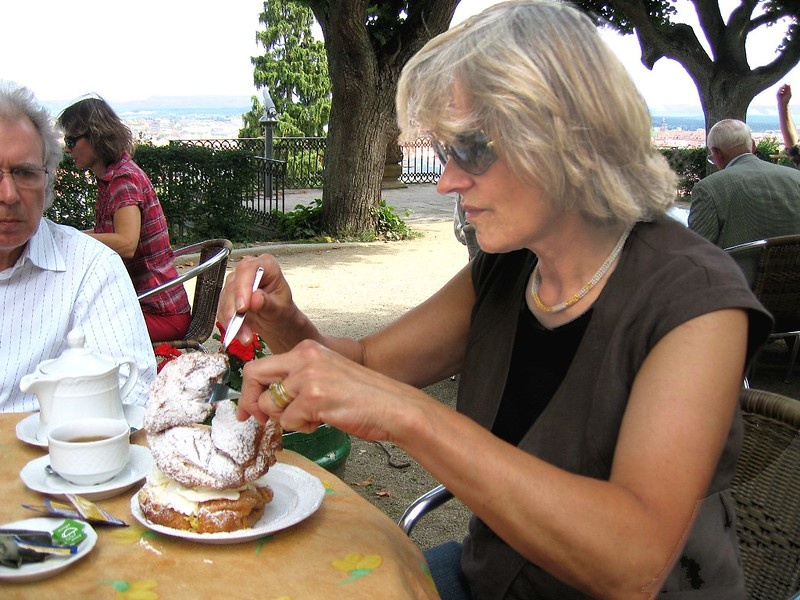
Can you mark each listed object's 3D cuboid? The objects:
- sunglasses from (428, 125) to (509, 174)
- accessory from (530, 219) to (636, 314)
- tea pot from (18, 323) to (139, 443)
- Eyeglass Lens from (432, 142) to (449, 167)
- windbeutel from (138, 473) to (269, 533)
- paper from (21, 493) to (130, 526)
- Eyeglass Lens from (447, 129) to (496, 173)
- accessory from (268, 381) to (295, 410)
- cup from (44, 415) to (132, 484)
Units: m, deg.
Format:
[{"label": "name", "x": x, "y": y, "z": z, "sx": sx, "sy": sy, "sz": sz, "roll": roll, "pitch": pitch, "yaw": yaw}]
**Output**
[{"label": "sunglasses", "x": 0.178, "y": -0.372, "z": 1.753, "sx": 0.119, "sy": 0.042, "sz": 0.123, "roll": 14, "pitch": 13, "yaw": -30}, {"label": "accessory", "x": 0.508, "y": -0.061, "z": 1.938, "sx": 0.052, "sy": 0.258, "sz": 0.242, "roll": 30, "pitch": 43, "yaw": 15}, {"label": "tea pot", "x": -0.964, "y": 0.248, "z": 2.087, "sx": 0.378, "sy": 0.355, "sz": 0.262, "roll": 0, "pitch": 2, "yaw": -37}, {"label": "Eyeglass Lens", "x": 0.112, "y": -0.411, "z": 1.870, "sx": 0.050, "sy": 0.058, "sz": 0.066, "roll": -5, "pitch": 37, "yaw": -9}, {"label": "windbeutel", "x": -0.475, "y": 0.491, "z": 1.600, "sx": 0.162, "sy": 0.053, "sz": 0.157, "roll": 4, "pitch": 3, "yaw": 2}, {"label": "paper", "x": -0.797, "y": 0.507, "z": 1.625, "sx": 0.177, "sy": 0.025, "sz": 0.173, "roll": 11, "pitch": -6, "yaw": -14}, {"label": "Eyeglass Lens", "x": 0.182, "y": -0.378, "z": 1.745, "sx": 0.103, "sy": 0.035, "sz": 0.101, "roll": 3, "pitch": 20, "yaw": -39}, {"label": "accessory", "x": -0.285, "y": 0.222, "z": 1.572, "sx": 0.043, "sy": 0.058, "sz": 0.058, "roll": -33, "pitch": -10, "yaw": 9}, {"label": "cup", "x": -0.824, "y": 0.395, "z": 1.782, "sx": 0.164, "sy": 0.118, "sz": 0.177, "roll": 3, "pitch": -4, "yaw": 0}]
